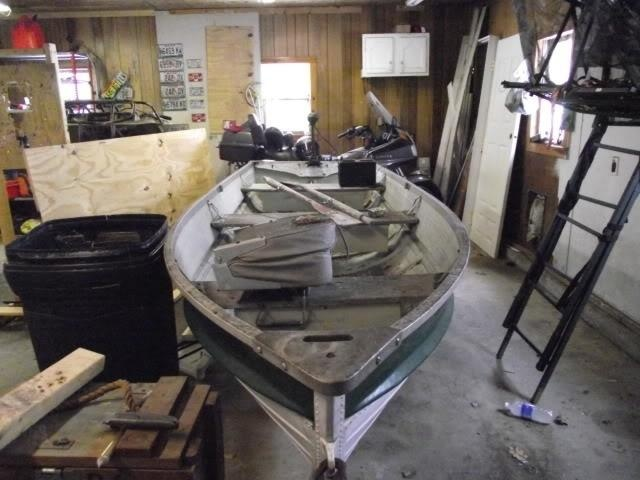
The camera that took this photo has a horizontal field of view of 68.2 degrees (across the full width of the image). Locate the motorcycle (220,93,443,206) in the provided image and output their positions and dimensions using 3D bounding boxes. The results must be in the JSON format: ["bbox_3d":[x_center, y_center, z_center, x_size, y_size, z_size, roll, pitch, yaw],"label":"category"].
[{"bbox_3d":[0.119,-1.006,5.886,2.851,1.513,1.230,-1,31,-6],"label":"motorcycle"}]
